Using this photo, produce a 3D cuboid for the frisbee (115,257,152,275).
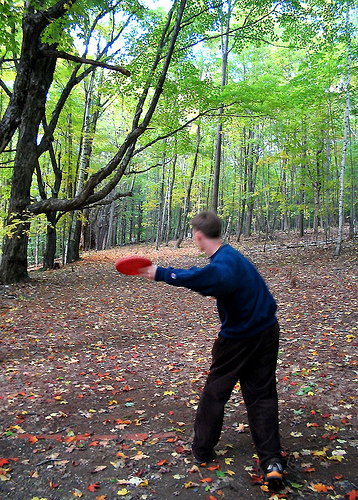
[{"bbox_3d":[-0.362,0.119,3.051,0.197,0.039,0.175,1,-30,-3],"label":"frisbee"}]
